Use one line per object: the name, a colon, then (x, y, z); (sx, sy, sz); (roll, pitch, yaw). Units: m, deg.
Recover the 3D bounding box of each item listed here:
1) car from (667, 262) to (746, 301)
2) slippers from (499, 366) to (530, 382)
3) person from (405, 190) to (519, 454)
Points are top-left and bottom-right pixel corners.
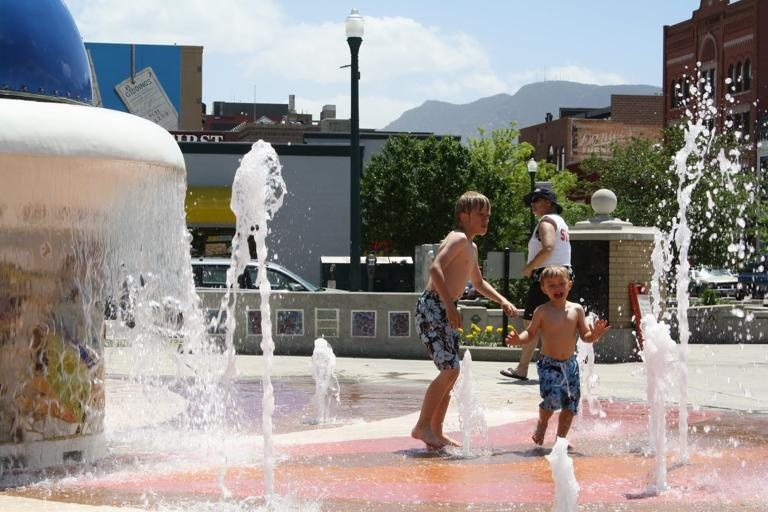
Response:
car: (11.313, 0.902, 39.924); (1.715, 0.993, 1.869); (-2, -4, 28)
slippers: (1.666, 1.499, 14.792); (0.294, 0.106, 0.153); (5, -8, -4)
person: (0.674, 0.590, 10.976); (0.785, 2.463, 0.634); (2, -4, -33)
